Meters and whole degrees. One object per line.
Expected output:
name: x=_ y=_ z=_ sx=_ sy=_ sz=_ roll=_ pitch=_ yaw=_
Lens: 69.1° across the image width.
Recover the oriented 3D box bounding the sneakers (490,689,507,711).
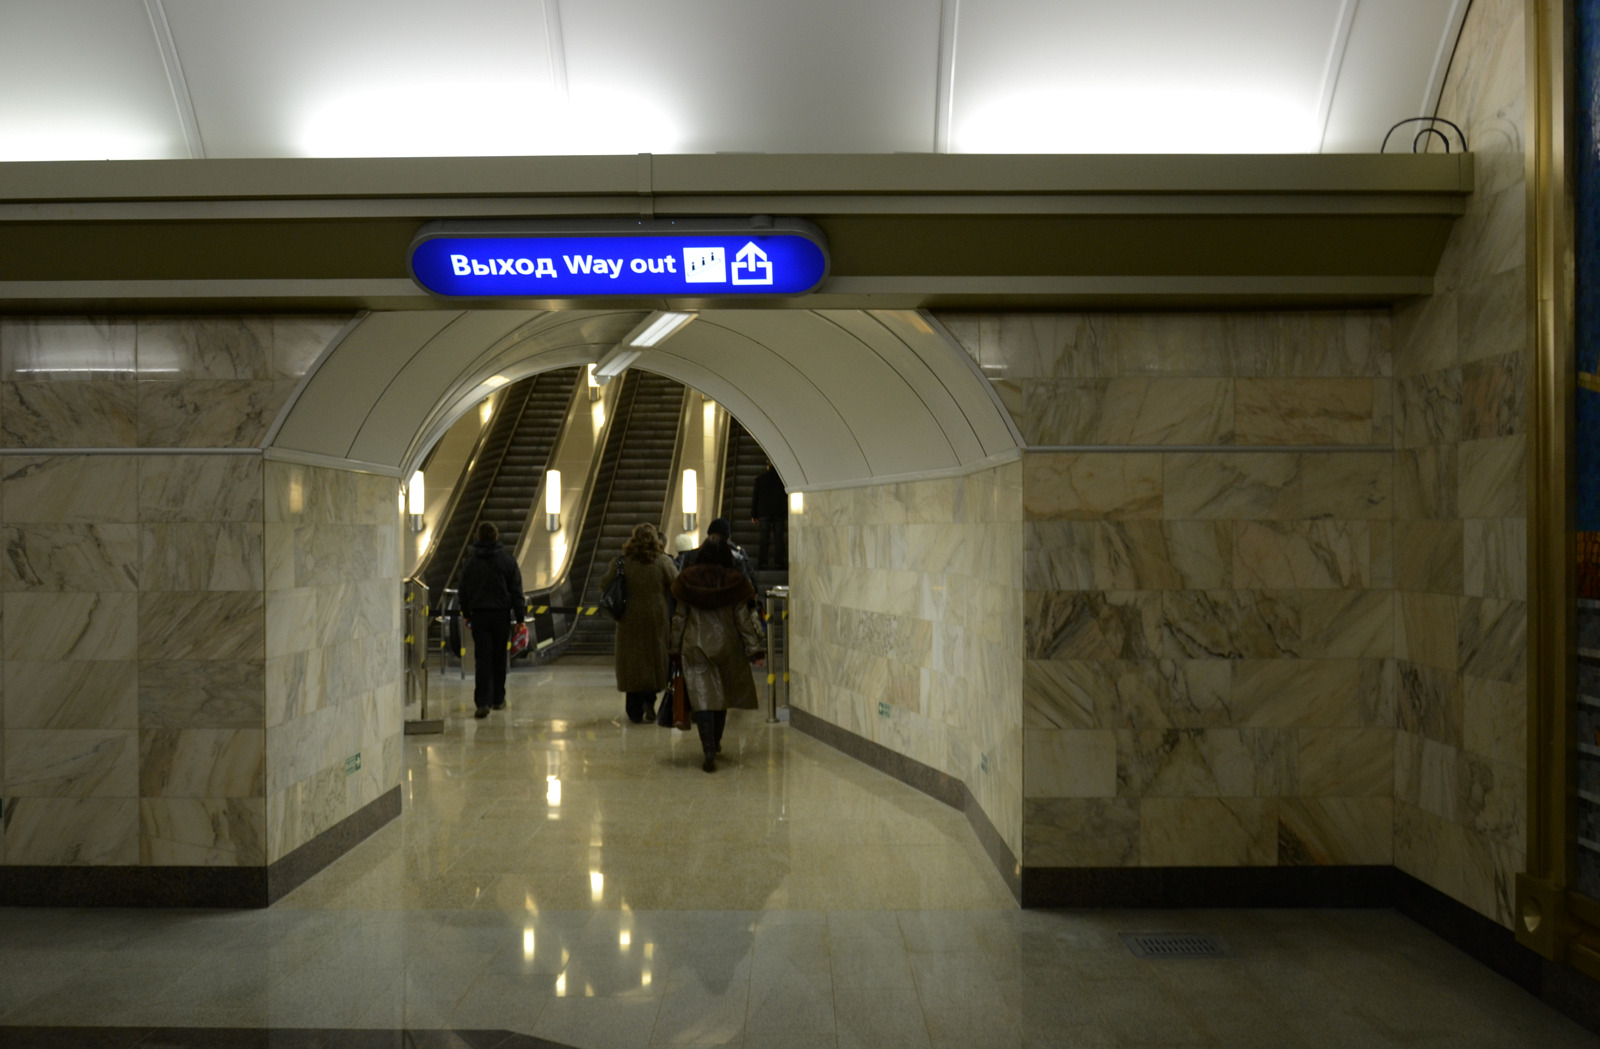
sneakers: x=-3.004 y=1.740 z=11.634 sx=0.106 sy=0.207 sz=0.198 roll=5 pitch=-40 yaw=0

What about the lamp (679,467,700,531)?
lamp: x=-1.781 y=-0.428 z=18.684 sx=0.282 sy=0.959 sz=0.762 roll=-1 pitch=5 yaw=-7

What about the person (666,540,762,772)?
person: x=-0.677 y=0.996 z=9.417 sx=0.682 sy=1.864 sz=0.822 roll=0 pitch=5 yaw=-3

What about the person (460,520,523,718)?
person: x=-3.013 y=0.919 z=11.390 sx=0.593 sy=1.875 sz=0.560 roll=-2 pitch=5 yaw=-18

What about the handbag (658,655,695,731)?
handbag: x=-1.040 y=1.408 z=9.869 sx=0.380 sy=0.743 sz=0.796 roll=1 pitch=-7 yaw=0

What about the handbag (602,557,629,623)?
handbag: x=-1.670 y=0.586 z=10.339 sx=0.263 sy=0.541 sz=0.234 roll=5 pitch=7 yaw=44

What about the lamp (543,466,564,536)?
lamp: x=-3.902 y=-0.402 z=18.442 sx=0.306 sy=0.969 sz=1.036 roll=-1 pitch=5 yaw=-13

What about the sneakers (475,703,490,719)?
sneakers: x=-3.076 y=1.808 z=11.299 sx=0.155 sy=0.101 sz=0.310 roll=-2 pitch=6 yaw=-17
